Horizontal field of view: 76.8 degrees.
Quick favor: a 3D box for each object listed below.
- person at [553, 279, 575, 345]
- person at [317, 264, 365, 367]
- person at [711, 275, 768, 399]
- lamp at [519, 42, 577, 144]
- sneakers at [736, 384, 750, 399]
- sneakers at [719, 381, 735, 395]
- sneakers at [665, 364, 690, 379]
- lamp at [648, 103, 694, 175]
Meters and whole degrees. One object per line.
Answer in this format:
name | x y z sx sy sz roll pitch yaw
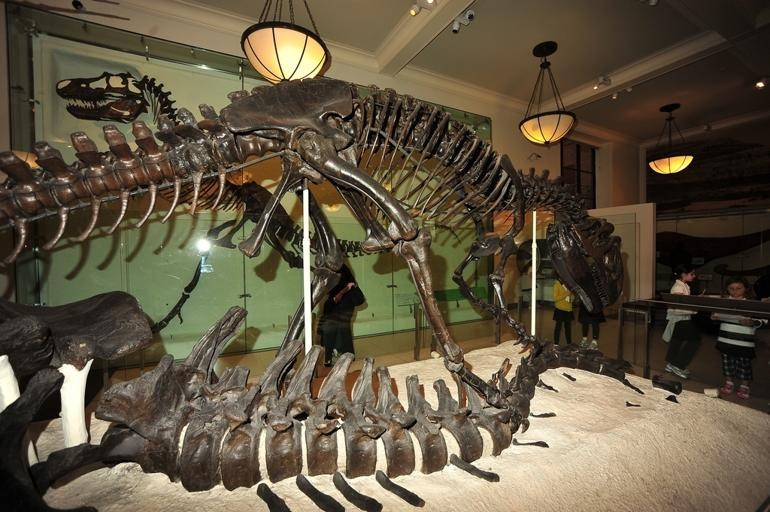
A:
person | 2.376 0.735 6.431 0.262 0.858 0.555 -1 -2 19
person | -0.638 0.684 5.732 0.596 1.447 0.438 2 19 -1
person | 3.547 0.993 4.827 0.448 0.851 0.197 -2 -3 36
lamp | 2.336 -2.313 6.976 0.759 1.432 0.763 0 -8 2
sneakers | 3.570 1.354 4.820 0.064 0.067 0.157 -7 -8 40
sneakers | 3.491 1.344 4.926 0.082 0.066 0.164 -7 -8 38
sneakers | 3.156 1.240 5.210 0.080 0.104 0.237 5 -1 -22
lamp | 4.656 -1.872 7.899 0.677 1.019 0.661 -10 10 -21
